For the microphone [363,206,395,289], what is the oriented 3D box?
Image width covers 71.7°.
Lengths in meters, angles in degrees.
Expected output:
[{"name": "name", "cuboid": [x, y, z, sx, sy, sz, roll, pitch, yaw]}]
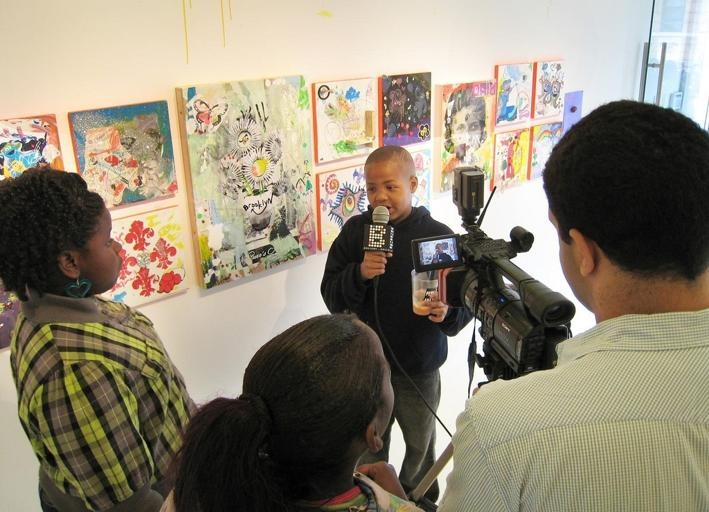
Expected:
[{"name": "microphone", "cuboid": [0.089, -0.084, 1.910, 0.115, 0.215, 0.146, -4, 17, 1]}]
